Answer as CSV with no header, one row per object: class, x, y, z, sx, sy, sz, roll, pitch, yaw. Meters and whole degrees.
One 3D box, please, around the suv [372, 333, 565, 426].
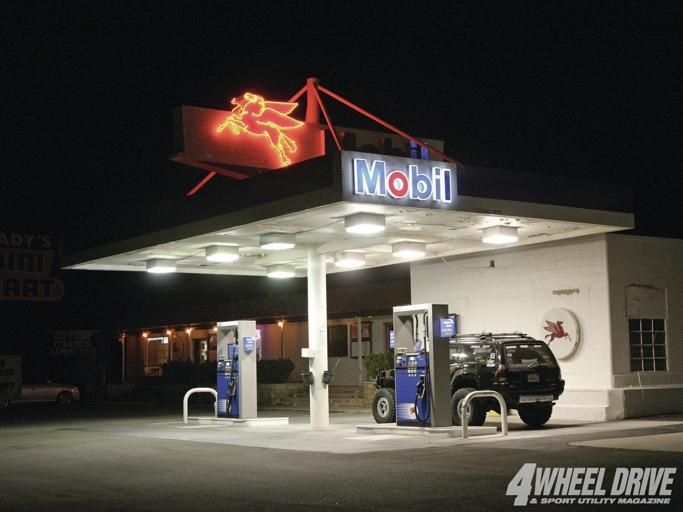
suv,3.552,3.132,19.141,4.078,2.057,2.510,-3,-6,45
